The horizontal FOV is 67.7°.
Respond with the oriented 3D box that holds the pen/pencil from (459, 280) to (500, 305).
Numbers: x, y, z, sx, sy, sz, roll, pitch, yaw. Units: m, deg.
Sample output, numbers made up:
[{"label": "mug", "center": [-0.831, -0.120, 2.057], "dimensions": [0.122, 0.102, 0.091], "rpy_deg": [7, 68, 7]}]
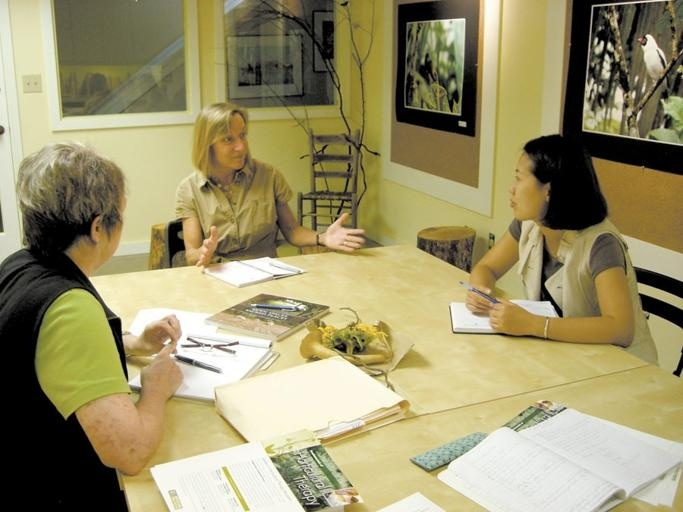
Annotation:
[{"label": "pen/pencil", "center": [0.561, 0.150, 2.093], "dimensions": [0.153, 0.022, 0.022], "rpy_deg": [29, 30, 31]}]
